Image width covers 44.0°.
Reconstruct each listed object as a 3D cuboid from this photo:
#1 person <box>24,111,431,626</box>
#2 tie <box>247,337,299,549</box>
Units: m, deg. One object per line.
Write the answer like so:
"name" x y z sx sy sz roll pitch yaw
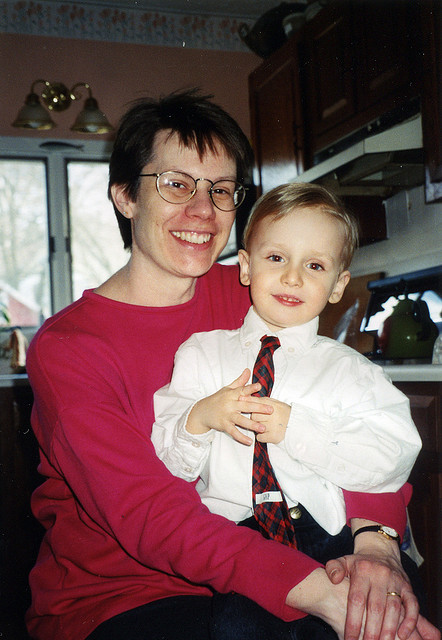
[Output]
"person" -0.095 0.050 0.945 0.490 0.925 0.706 -2 4 -19
"tie" 0.088 0.193 0.912 0.071 0.312 0.185 -1 4 3
